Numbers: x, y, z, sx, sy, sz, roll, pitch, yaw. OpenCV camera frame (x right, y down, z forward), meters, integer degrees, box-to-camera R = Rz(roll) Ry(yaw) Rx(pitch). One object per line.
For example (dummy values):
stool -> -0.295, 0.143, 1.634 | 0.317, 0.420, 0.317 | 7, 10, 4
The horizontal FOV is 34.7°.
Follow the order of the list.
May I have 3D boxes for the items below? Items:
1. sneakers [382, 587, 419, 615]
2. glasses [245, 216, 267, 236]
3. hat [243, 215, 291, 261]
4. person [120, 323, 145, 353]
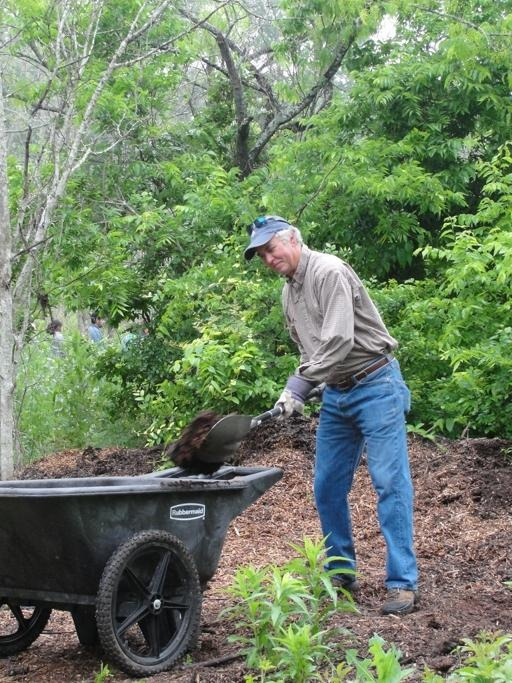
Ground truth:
sneakers -> 0.726, 1.303, 4.160 | 0.154, 0.120, 0.244 | -4, -2, 19
glasses -> 0.015, -0.636, 4.429 | 0.111, 0.057, 0.138 | -25, 28, 32
hat -> 0.032, -0.561, 4.372 | 0.281, 0.137, 0.178 | -20, -13, -39
person -> -1.493, -0.061, 10.020 | 0.295, 0.324, 1.210 | -3, -2, -8
